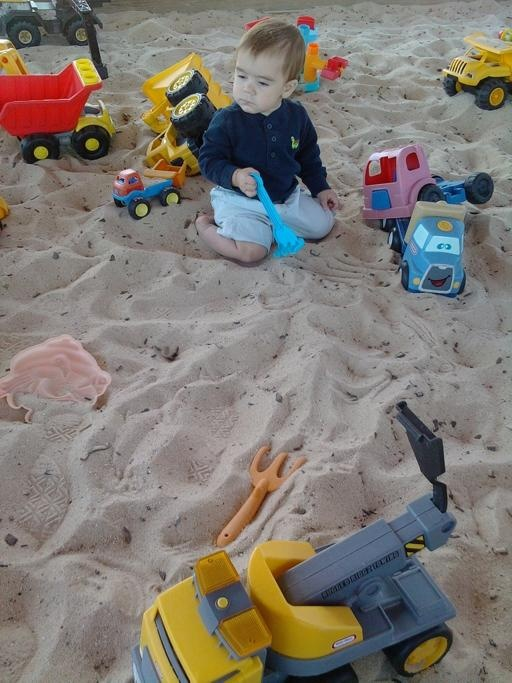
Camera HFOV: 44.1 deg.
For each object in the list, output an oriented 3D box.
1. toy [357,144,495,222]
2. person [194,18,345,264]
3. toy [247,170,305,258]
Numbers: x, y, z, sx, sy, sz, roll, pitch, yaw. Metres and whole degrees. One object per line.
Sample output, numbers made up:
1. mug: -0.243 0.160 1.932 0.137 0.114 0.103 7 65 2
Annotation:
1. toy: 0.750 -0.704 2.755 0.479 0.254 0.353 -25 27 -23
2. person: 0.069 -0.777 2.537 0.649 0.922 0.458 -5 46 -7
3. toy: 0.064 -0.481 2.532 0.154 0.371 0.083 -31 7 -36
